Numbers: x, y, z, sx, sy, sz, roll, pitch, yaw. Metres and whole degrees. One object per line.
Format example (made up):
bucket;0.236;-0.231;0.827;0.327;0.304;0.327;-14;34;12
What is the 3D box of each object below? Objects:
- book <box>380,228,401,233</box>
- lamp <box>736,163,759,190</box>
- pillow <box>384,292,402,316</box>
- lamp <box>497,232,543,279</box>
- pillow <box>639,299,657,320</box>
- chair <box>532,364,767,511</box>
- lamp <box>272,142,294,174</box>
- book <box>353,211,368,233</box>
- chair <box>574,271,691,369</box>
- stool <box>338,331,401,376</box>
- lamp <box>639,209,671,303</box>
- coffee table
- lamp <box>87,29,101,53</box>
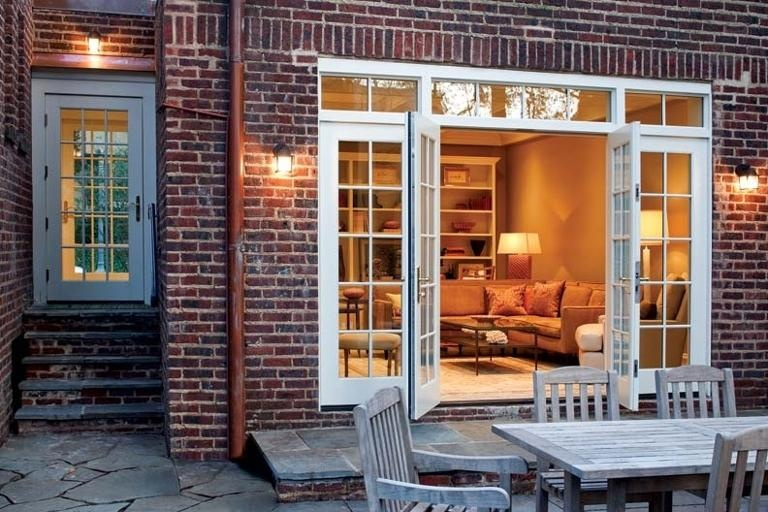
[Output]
book;0.070;-0.250;7.359;0.176;0.059;0.021;-6;12;-8
lamp;3.776;-0.832;7.963;0.242;0.290;0.152;-2;13;13
pillow;0.107;0.460;7.350;0.061;0.190;0.206;-18;5;29
lamp;2.312;-0.022;13.123;0.786;0.858;0.892;-1;0;10
pillow;2.693;0.565;7.821;0.196;0.182;0.082;13;4;-2
chair;1.795;1.283;5.302;1.350;0.851;0.515;0;-6;-5
lamp;-0.933;-0.907;7.079;0.194;0.300;0.181;-6;12;-7
book;-0.226;-0.331;7.329;0.188;0.250;0.188;0;-1;-2
chair;2.714;0.749;8.443;1.202;1.055;0.852;0;-4;7
stool;-0.123;0.864;7.332;0.602;0.406;0.427;1;4;4
lamp;2.733;-0.069;7.842;0.368;0.822;0.173;-12;14;-29
coffee table;1.514;1.430;10.484;0.754;0.517;1.281;0;2;-19
lamp;-3.398;-2.537;8.980;0.132;0.249;0.156;-10;14;-25
